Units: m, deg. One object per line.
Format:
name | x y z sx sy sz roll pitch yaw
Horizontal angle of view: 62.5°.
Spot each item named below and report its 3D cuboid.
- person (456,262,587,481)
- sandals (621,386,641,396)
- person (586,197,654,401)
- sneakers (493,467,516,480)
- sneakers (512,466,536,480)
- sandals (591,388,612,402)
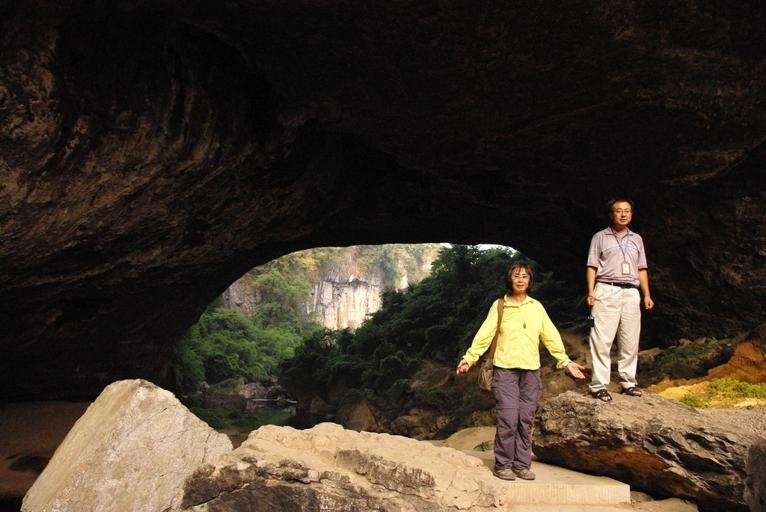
person | 1.682 1.451 8.055 1.293 2.695 0.645 2 -13 2
sandals | 3.367 1.837 8.595 0.218 0.091 0.127 0 1 -10
person | 3.192 0.583 8.604 0.798 2.705 0.708 -1 -13 14
sneakers | 1.511 2.735 7.957 0.272 0.115 0.121 0 3 -20
sneakers | 1.773 2.746 8.015 0.307 0.133 0.111 0 3 -20
sandals | 2.925 1.863 8.489 0.251 0.181 0.154 -3 -14 22
